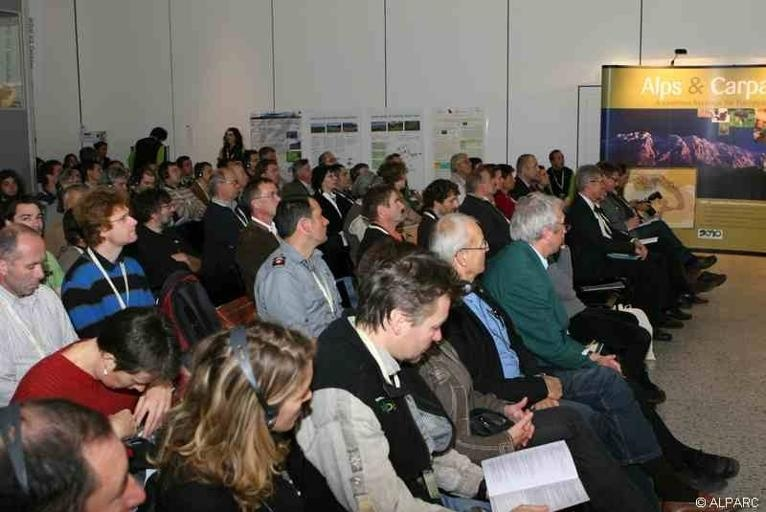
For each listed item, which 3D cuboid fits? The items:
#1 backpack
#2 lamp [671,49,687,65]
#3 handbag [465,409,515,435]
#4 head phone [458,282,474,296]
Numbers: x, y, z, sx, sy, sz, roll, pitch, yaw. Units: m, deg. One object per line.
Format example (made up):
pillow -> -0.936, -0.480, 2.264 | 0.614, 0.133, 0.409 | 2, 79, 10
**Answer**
backpack -> -1.086, 0.286, 3.133 | 0.181, 0.466, 0.363 | -29, 33, -23
lamp -> 4.433, -2.973, 8.528 | 0.230, 0.257, 0.454 | 4, 12, 27
handbag -> 0.512, 0.811, 2.774 | 0.210, 0.056, 0.277 | 4, 12, 26
head phone -> 0.411, 0.165, 2.838 | 0.105, 0.053, 0.143 | -3, -2, 4
